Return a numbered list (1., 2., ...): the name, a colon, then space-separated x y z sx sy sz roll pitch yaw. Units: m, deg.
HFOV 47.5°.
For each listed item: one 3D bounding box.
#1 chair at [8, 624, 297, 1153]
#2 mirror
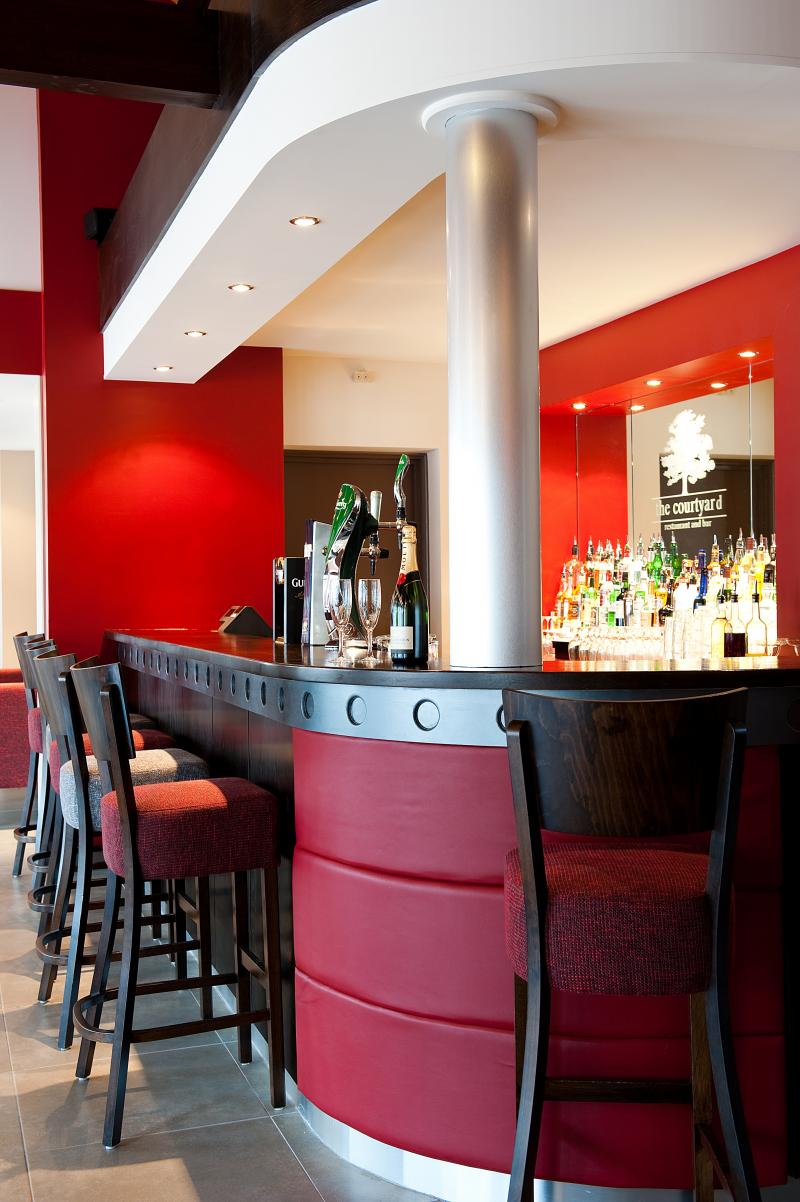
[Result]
1. chair: -0.663 0.799 2.461 0.390 1.102 1.055 -1 2 -20
2. mirror: 1.492 -0.674 4.848 0.094 1.019 1.018 1 -2 -20
